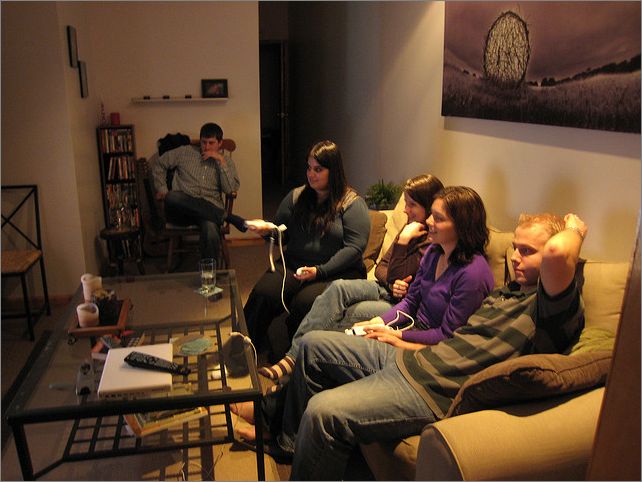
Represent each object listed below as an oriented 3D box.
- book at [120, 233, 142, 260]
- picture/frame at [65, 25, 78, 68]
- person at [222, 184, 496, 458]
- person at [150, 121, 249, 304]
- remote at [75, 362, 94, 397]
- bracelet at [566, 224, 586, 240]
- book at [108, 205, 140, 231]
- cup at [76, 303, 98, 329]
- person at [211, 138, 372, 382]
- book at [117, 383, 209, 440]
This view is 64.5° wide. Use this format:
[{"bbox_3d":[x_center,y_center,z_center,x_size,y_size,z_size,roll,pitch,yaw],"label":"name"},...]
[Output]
[{"bbox_3d":[-1.692,0.044,4.491,0.170,0.284,0.189,2,9,16],"label":"book"},{"bbox_3d":[-2.009,-1.580,4.104,0.024,0.268,0.174,-9,14,-42],"label":"picture/frame"},{"bbox_3d":[0.240,0.392,2.522,1.042,1.506,0.536,11,5,-19],"label":"person"},{"bbox_3d":[-1.060,-0.320,4.474,0.813,1.526,0.645,7,1,44],"label":"person"},{"bbox_3d":[-1.028,0.594,2.207,0.056,0.063,0.226,-10,45,-14],"label":"remote"},{"bbox_3d":[1.074,-0.049,2.118,0.069,0.041,0.101,8,9,21],"label":"bracelet"},{"bbox_3d":[-1.634,-0.177,4.265,0.202,0.263,0.225,0,13,-5],"label":"book"},{"bbox_3d":[-1.160,0.367,2.523,0.087,0.121,0.110,2,22,-8],"label":"cup"},{"bbox_3d":[-0.093,0.122,3.258,0.572,1.479,0.725,7,2,37],"label":"person"},{"bbox_3d":[-0.697,0.776,2.269,0.370,0.196,0.252,-7,13,-17],"label":"book"}]
